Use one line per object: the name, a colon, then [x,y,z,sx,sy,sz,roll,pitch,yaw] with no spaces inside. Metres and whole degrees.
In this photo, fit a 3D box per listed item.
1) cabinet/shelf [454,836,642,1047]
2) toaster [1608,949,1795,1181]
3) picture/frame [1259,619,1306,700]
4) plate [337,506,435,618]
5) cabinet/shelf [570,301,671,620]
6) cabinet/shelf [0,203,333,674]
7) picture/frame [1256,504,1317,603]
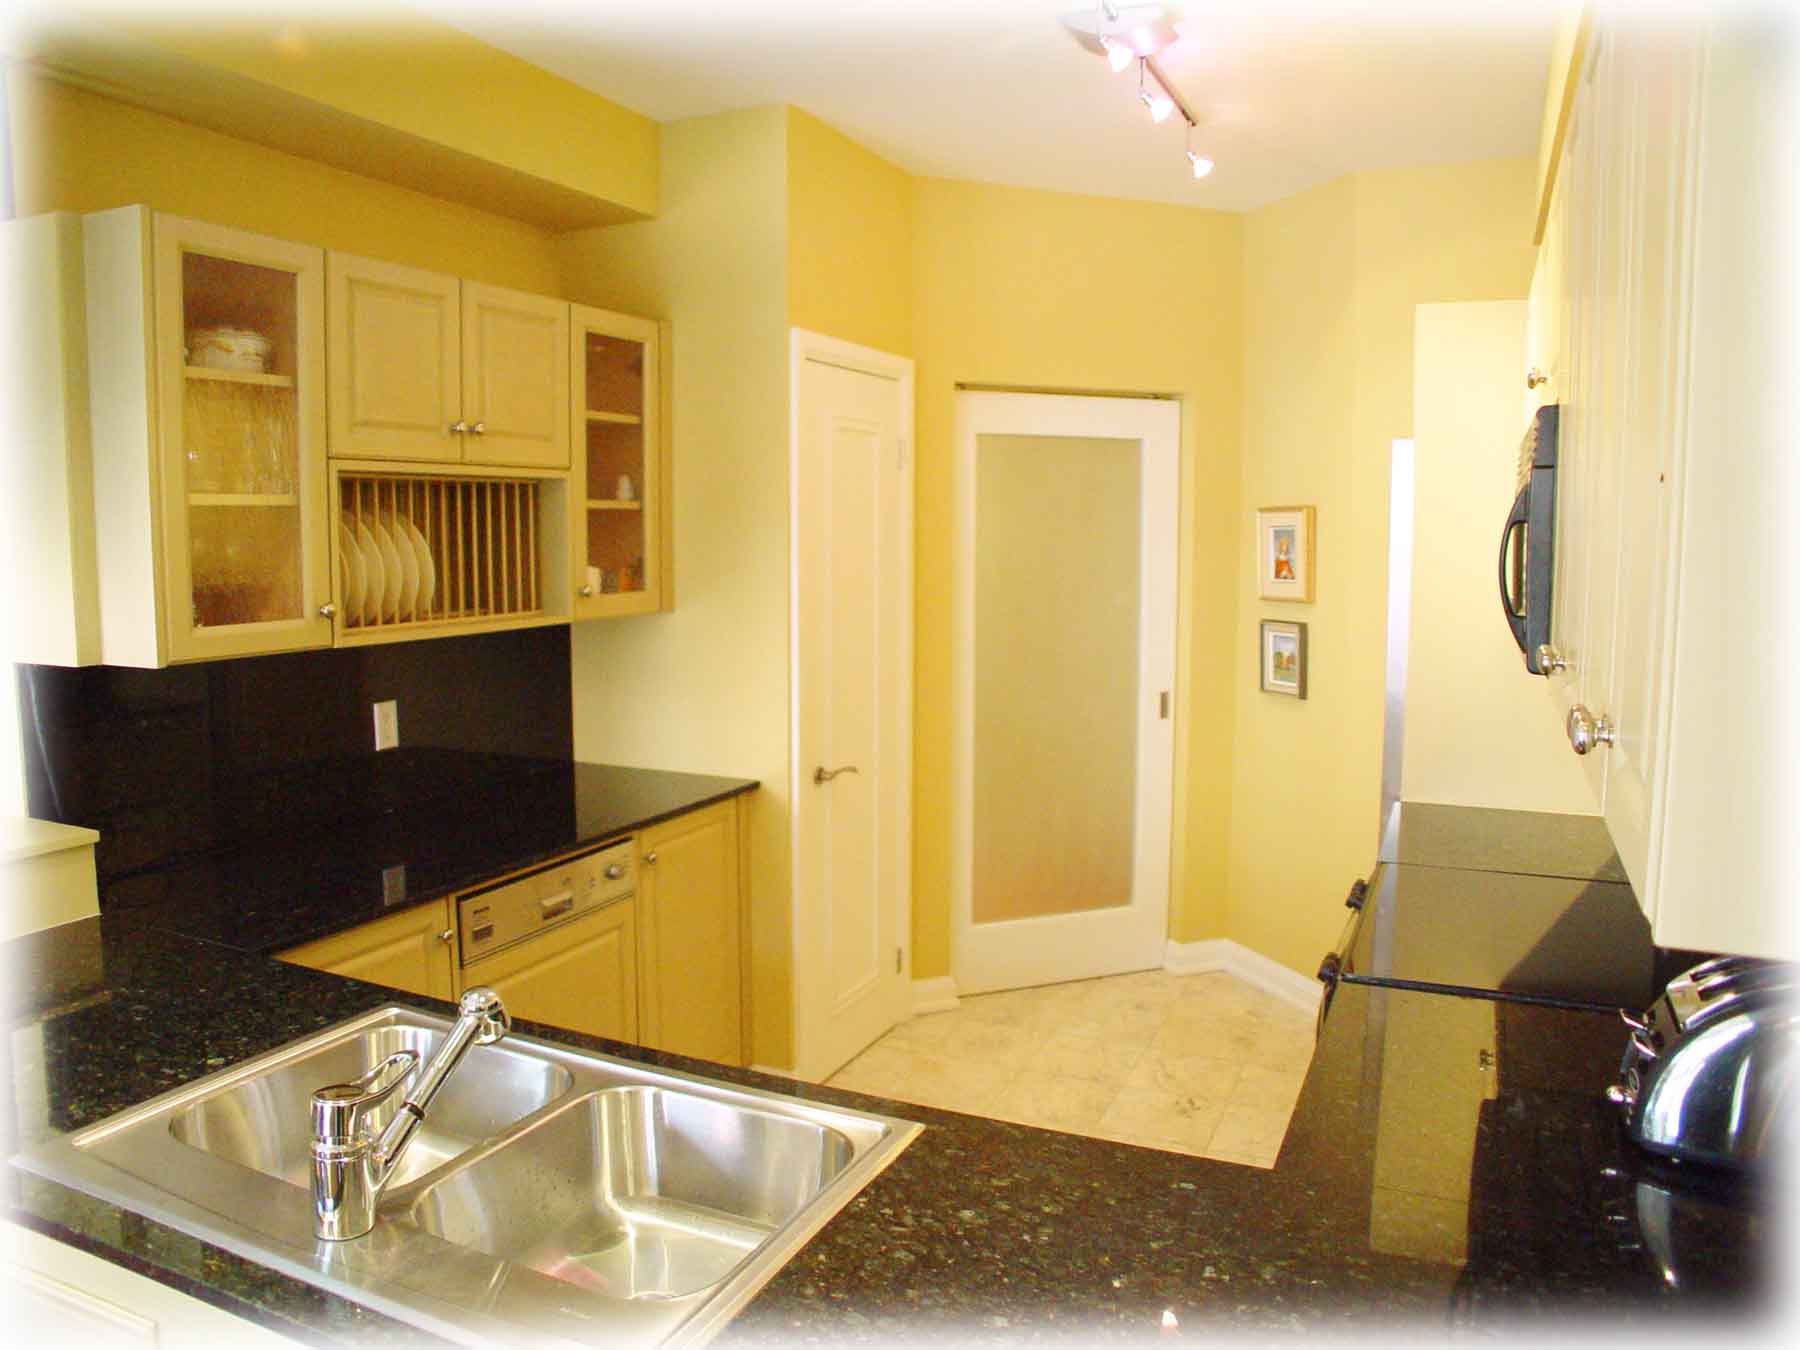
cabinet/shelf: [-0.814,0.591,2.980,0.327,0.474,0.489,2,7,20]
toaster: [1.084,0.510,1.789,0.187,0.276,0.249,6,11,32]
picture/frame: [1.356,-0.056,4.636,0.041,0.320,0.275,-1,3,-29]
plate: [-1.237,-0.252,3.104,0.149,0.268,0.280,2,10,10]
cabinet/shelf: [-0.797,-0.593,3.725,0.116,0.847,0.435,4,10,20]
cabinet/shelf: [-1.551,-0.481,2.726,0.626,0.898,0.337,-1,10,-7]
picture/frame: [1.355,-0.420,4.608,0.062,0.339,0.265,-4,10,-21]
